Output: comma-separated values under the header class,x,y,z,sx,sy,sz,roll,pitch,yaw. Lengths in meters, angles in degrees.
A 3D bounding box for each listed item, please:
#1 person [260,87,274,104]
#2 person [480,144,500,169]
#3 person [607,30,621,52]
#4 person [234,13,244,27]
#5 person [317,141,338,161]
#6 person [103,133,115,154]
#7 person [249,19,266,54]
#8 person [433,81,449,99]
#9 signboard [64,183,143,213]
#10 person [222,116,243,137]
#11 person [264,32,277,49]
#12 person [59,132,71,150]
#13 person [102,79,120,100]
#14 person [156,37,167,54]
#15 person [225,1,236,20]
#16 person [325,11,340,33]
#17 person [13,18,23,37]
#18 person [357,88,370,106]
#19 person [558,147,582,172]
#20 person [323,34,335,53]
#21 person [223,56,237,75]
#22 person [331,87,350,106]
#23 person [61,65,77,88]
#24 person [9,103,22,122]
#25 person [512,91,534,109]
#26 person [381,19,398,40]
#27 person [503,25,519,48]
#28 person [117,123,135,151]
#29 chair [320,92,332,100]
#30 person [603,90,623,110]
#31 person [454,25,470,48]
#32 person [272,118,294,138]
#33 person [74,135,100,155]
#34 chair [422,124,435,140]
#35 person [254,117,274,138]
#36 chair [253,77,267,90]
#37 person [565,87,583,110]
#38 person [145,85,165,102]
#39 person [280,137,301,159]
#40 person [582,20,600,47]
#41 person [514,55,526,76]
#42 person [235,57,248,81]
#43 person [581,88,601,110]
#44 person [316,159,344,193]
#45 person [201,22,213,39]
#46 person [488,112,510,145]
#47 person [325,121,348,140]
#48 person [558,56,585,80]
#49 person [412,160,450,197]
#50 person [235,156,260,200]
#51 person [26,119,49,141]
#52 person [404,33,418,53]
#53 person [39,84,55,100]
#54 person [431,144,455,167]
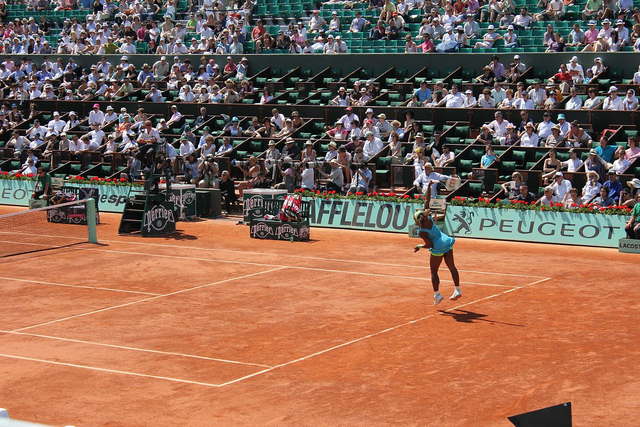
class,x,y,z,sx,sy,sz,roll,pitch,yaw
person,-2.344,-5.260,32.123,0.586,0.592,0.757,-2,12,-5
person,5.996,-2.068,25.727,0.668,0.771,0.589,2,13,12
person,11.617,-6.867,28.723,0.479,0.819,0.650,1,12,9
person,-4.215,-10.188,37.970,0.452,0.668,0.956,-2,12,-6
person,0.311,-2.442,27.662,0.771,0.986,0.589,6,10,-4
person,-9.137,-3.064,31.409,0.498,0.762,1.980,-4,13,-16
person,-3.051,-8.851,36.134,0.731,1.627,1.381,-2,12,-7
person,4.841,-5.074,29.164,0.563,1.019,0.991,-2,4,4
signboard,-8.170,-0.661,28.999,2.740,0.954,0.063,3,2,33
person,-3.615,-3.694,30.571,0.744,0.709,1.657,-6,14,-25
person,-2.410,-8.511,35.584,0.596,0.788,0.706,-3,12,-10
person,-11.365,-3.273,32.283,0.397,0.746,0.448,-5,13,-18
person,-10.289,-6.128,35.771,0.846,0.886,0.705,-5,13,-18
person,-8.227,-8.744,37.713,0.572,0.802,1.026,-4,13,-13
person,-4.813,-10.859,38.644,0.506,0.984,1.163,-2,12,-7
person,0.642,-9.570,36.161,0.627,1.015,0.782,-1,12,1
person,-18.766,-11.630,45.141,0.558,1.084,2.139,-6,13,-22
person,1.794,-4.888,30.172,0.494,0.677,0.763,0,12,3
person,8.462,-1.837,24.577,0.438,0.733,0.781,5,-6,-29
person,0.439,-8.000,34.076,0.465,0.804,0.943,-4,13,-16
person,-4.353,-7.201,35.083,0.679,0.851,0.505,-3,12,-9
person,0.944,-4.904,30.779,0.843,1.218,0.711,1,2,8
person,-13.197,-7.281,38.235,0.691,1.124,1.797,-3,13,-11
person,-15.104,-5.043,36.070,0.595,0.812,1.346,-6,13,-21
person,7.745,-4.184,27.662,0.920,0.875,0.528,3,-19,22
person,3.306,-8.603,34.084,0.699,1.032,0.920,0,-1,30
person,8.153,-7.565,30.981,0.598,0.887,0.723,2,12,11
person,-8.429,-3.385,31.466,0.580,1.140,1.006,-4,13,-16
chair,0.238,-5.168,31.749,0.346,0.457,0.359,0,-1,7
person,10.613,-4.182,26.359,0.679,0.676,0.456,5,13,23
person,6.226,-7.793,31.941,0.660,0.905,1.045,1,12,10
person,-1.409,-3.443,29.485,0.913,0.938,0.544,1,4,-44
person,-10.165,-3.054,31.841,0.635,0.638,0.974,5,11,36
chair,4.221,-3.223,28.304,0.550,0.750,0.589,0,1,11
person,-2.170,-3.579,30.068,0.853,1.043,0.752,-2,-8,10
chair,-2.848,-6.170,34.134,0.429,0.645,0.632,1,3,10
person,9.379,-4.313,26.916,0.607,0.769,0.456,5,13,23
person,-7.731,-5.682,34.198,0.755,0.710,1.404,-7,14,-27
person,-1.280,-2.576,28.360,0.555,0.793,0.866,0,6,27
person,11.018,-7.381,29.619,0.593,0.975,0.711,4,13,21
person,8.125,-6.090,29.592,0.469,0.787,0.942,2,13,14
person,-3.774,-6.952,34.647,0.593,1.031,1.135,-1,12,-2
person,9.894,-4.243,26.564,0.572,0.727,0.600,4,13,21
person,0.482,-1.443,26.867,0.751,1.124,0.441,9,16,39
person,-5.931,-9.655,38.055,0.595,0.782,0.707,-3,12,-9
person,6.603,-3.092,26.909,0.980,1.435,0.752,-3,4,-27
person,0.686,-3.335,28.738,0.838,0.668,0.606,10,16,39
person,10.024,-5.765,28.571,0.706,0.885,0.783,3,13,19
person,3.884,-1.232,25.521,1.272,1.731,0.506,1,-2,19
person,-2.771,-1.407,28.103,0.853,1.730,0.898,3,13,15
person,-13.460,-3.987,34.499,1.192,0.971,0.602,-1,-6,4
person,4.045,-7.551,32.158,0.513,0.761,0.559,0,12,3
person,-13.907,-6.244,36.892,0.785,0.705,0.787,-1,12,-1
person,4.434,-2.136,26.224,0.800,0.729,0.590,5,14,25
